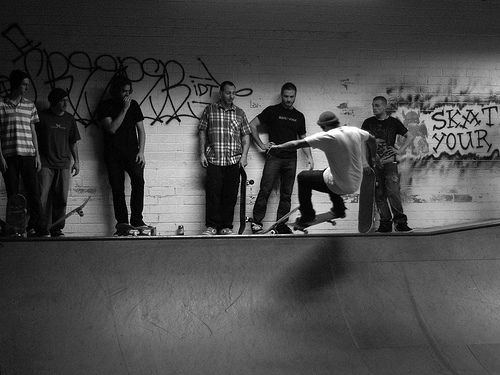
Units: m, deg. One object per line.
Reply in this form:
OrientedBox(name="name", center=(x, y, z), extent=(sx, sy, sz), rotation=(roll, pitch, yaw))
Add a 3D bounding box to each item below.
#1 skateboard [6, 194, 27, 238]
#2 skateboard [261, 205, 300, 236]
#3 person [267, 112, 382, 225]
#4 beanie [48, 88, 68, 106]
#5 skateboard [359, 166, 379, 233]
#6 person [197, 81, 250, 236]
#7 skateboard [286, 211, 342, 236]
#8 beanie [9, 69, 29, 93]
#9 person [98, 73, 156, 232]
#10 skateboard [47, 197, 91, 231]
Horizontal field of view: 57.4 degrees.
OrientedBox(name="skateboard", center=(-2.482, 0.290, 4.827), extent=(0.205, 0.444, 0.139), rotation=(-2, 7, -23))
OrientedBox(name="skateboard", center=(0.387, 0.441, 6.192), extent=(0.106, 0.097, 0.631), rotation=(29, -57, -35))
OrientedBox(name="person", center=(0.912, -0.170, 5.250), extent=(1.557, 1.282, 0.760), rotation=(-1, 6, -20))
OrientedBox(name="beanie", center=(-2.599, -1.240, 6.213), extent=(0.237, 0.202, 0.188), rotation=(-5, 7, -7))
OrientedBox(name="skateboard", center=(1.443, 0.141, 5.562), extent=(0.119, 0.806, 0.210), rotation=(-7, 11, -41))
OrientedBox(name="person", center=(-0.366, -0.308, 6.428), extent=(0.696, 1.854, 0.528), rotation=(0, 6, -7))
OrientedBox(name="skateboard", center=(0.648, 0.444, 5.661), extent=(1.039, 0.275, 0.159), rotation=(-13, -2, 42))
OrientedBox(name="beanie", center=(-2.876, -1.364, 5.716), extent=(0.235, 0.256, 0.191), rotation=(2, 10, -16))
OrientedBox(name="person", center=(-1.708, -0.484, 6.314), extent=(0.632, 2.240, 0.866), rotation=(-4, 8, -33))
OrientedBox(name="skateboard", center=(-2.545, 0.361, 6.314), extent=(0.829, 0.115, 0.120), rotation=(-29, -43, 31))
